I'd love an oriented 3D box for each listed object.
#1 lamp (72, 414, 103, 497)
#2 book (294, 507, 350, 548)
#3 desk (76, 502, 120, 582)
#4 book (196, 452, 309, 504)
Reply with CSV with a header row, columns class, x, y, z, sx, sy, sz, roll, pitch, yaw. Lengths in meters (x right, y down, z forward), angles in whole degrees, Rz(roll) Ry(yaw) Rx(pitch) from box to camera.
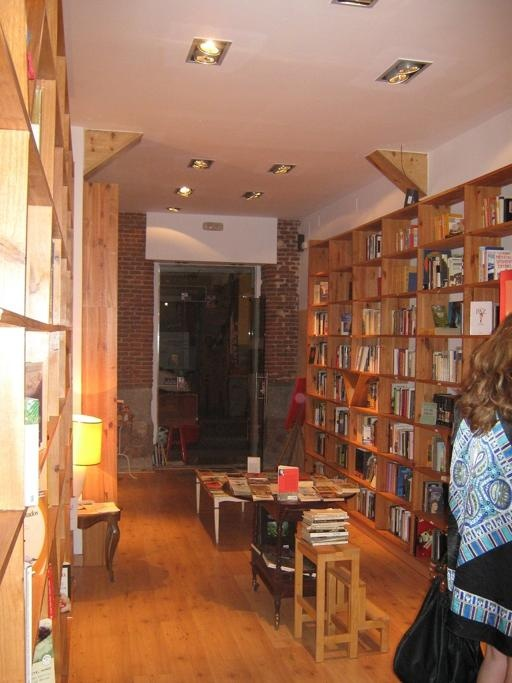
class,x,y,z,sx,sy,sz,roll,pitch,yaw
lamp,-1.272,0.880,4.149,0.207,0.645,0.306,2,-1,-17
book,0.381,1.057,3.251,0.220,0.133,0.214,1,-2,-11
desk,-1.172,1.473,4.317,0.492,0.510,0.529,-1,1,-19
book,-0.036,1.294,5.314,0.717,0.237,1.046,2,-4,-15
